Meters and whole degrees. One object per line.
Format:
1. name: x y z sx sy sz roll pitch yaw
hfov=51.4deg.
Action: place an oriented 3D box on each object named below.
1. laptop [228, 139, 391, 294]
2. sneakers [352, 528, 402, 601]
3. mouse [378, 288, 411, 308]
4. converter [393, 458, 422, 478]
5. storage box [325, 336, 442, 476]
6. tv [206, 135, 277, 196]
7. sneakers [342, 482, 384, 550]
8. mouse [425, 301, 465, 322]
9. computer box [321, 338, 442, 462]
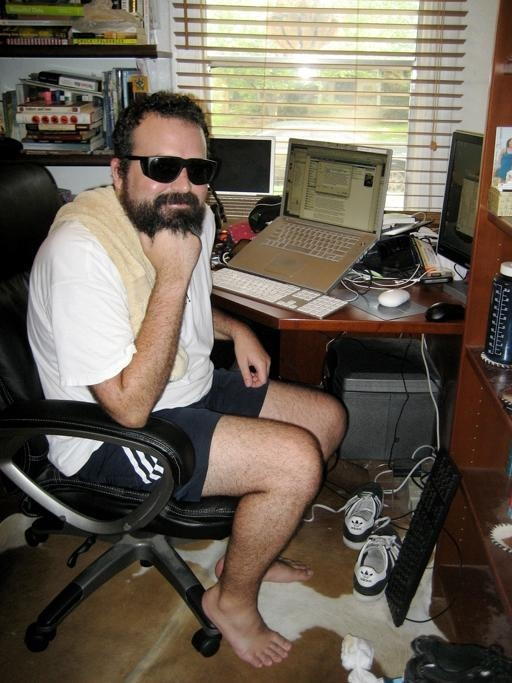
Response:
1. laptop: 0.134 -0.358 1.456 0.436 0.223 0.427 5 45 25
2. sneakers: 0.292 0.530 1.298 0.072 0.066 0.175 -1 30 25
3. mouse: 0.339 -0.106 1.303 0.059 0.035 0.092 24 34 39
4. converter: 0.483 0.401 1.683 0.089 0.052 0.054 -2 32 -1
5. storage box: 0.375 0.200 1.835 0.358 0.412 0.632 -2 22 -1
6. tv: -0.046 -0.674 2.066 0.015 0.225 0.295 22 27 40
7. sneakers: 0.300 0.476 1.465 0.071 0.078 0.193 4 30 21
8. mouse: 0.424 -0.063 1.197 0.077 0.024 0.043 -10 32 -18
9. computer box: 0.403 0.215 1.813 0.291 0.266 0.424 1 7 2
